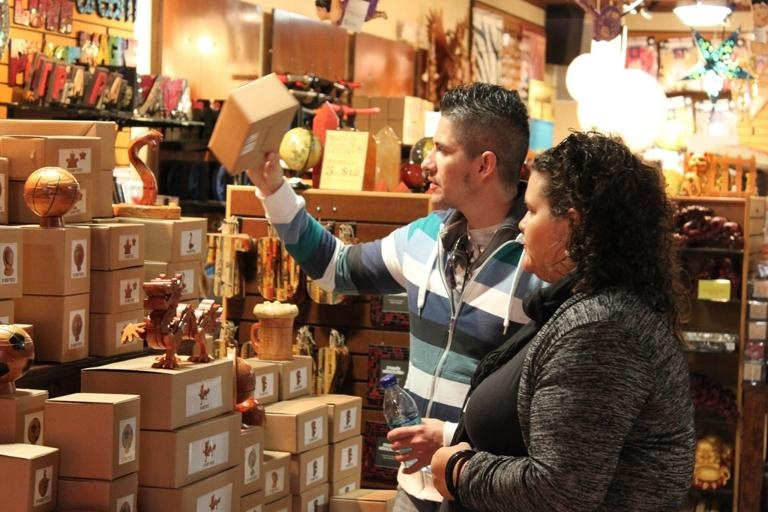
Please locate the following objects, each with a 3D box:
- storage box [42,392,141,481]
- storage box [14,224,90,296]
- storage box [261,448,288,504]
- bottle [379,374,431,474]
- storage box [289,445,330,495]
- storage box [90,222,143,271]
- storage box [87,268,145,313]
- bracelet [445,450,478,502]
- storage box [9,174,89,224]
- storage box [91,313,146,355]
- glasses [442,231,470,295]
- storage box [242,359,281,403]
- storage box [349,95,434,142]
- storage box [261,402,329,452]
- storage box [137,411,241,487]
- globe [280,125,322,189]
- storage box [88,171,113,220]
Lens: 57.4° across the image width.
[{"bbox_3d":[-0.962,0.586,2.427,0.265,0.277,0.267,2,0,16],"label":"storage box"},{"bbox_3d":[-1.261,-0.002,2.802,0.253,0.262,0.254,4,9,11],"label":"storage box"},{"bbox_3d":[-0.451,0.977,3.125,0.182,0.186,0.183,0,-3,-8],"label":"storage box"},{"bbox_3d":[0.060,0.487,2.345,0.138,0.274,0.182,3,0,2],"label":"bottle"},{"bbox_3d":[-0.344,1.026,3.392,0.157,0.195,0.304,-3,-3,27],"label":"storage box"},{"bbox_3d":[-1.105,-0.048,2.937,0.196,0.199,0.198,-3,8,-42],"label":"storage box"},{"bbox_3d":[-1.101,0.149,2.921,0.149,0.184,0.287,0,-1,20],"label":"storage box"},{"bbox_3d":[0.190,0.605,1.940,0.025,0.115,0.112,10,18,-18],"label":"bracelet"},{"bbox_3d":[-1.401,-0.198,2.903,0.226,0.148,0.232,1,-2,1],"label":"storage box"},{"bbox_3d":[-1.126,0.324,2.963,0.172,0.132,0.172,0,-4,-9],"label":"storage box"},{"bbox_3d":[0.276,0.021,2.675,0.067,0.191,0.150,5,8,-14],"label":"glasses"},{"bbox_3d":[-0.576,0.602,3.395,0.188,0.189,0.192,0,-1,-3],"label":"storage box"},{"bbox_3d":[0.073,-1.399,7.292,0.728,0.522,1.080,2,1,12],"label":"storage box"},{"bbox_3d":[-0.428,0.794,3.376,0.218,0.150,0.228,0,0,39],"label":"storage box"},{"bbox_3d":[-0.681,0.708,2.511,0.185,0.170,0.374,1,4,31],"label":"storage box"},{"bbox_3d":[-0.506,-0.652,4.281,0.237,0.281,0.242,18,33,11],"label":"globe"},{"bbox_3d":[-1.261,-0.274,3.169,0.039,0.205,0.127,3,0,13],"label":"storage box"}]
